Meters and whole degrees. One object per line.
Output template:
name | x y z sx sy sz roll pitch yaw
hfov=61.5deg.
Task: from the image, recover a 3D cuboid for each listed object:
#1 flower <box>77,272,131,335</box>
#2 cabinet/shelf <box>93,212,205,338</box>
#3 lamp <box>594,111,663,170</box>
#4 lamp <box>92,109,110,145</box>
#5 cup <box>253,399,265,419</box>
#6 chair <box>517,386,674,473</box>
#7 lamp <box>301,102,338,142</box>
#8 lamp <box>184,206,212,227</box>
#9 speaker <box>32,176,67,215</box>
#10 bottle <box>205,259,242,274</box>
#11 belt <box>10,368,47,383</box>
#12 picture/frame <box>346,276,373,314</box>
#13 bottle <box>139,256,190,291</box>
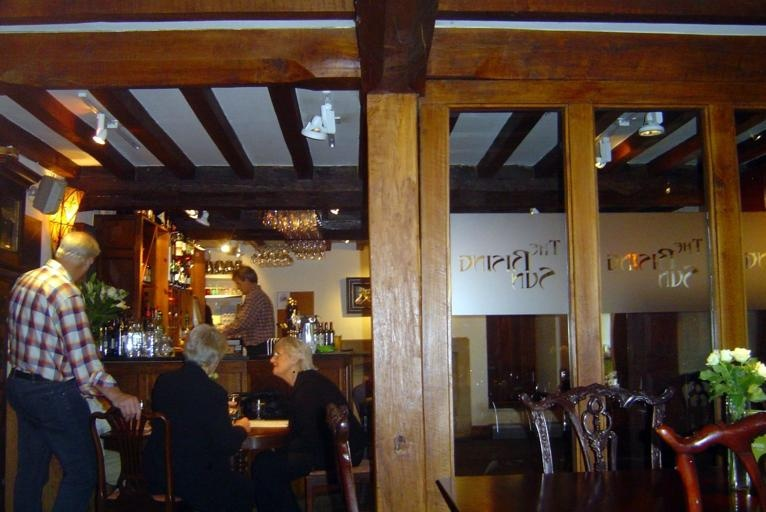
flower | -2.639 0.442 6.116 0.605 0.600 0.626 3 -3 -17
cabinet/shelf | -3.179 0.264 8.049 0.596 1.593 1.792 2 5 -12
lamp | 1.461 -0.747 4.210 0.666 0.405 0.230 1 -7 7
lamp | -2.331 -1.067 5.319 0.100 0.257 0.335 4 -12 -24
cup | -0.974 1.227 5.126 0.110 0.182 0.105 1 -3 0
chair | 1.134 0.986 3.618 0.847 0.531 0.808 0 -11 -6
lamp | -0.492 -1.053 5.142 0.336 0.287 0.195 -2 7 -14
lamp | -2.526 -0.545 8.758 0.319 0.071 0.281 12 -18 1
speaker | -3.112 -0.561 5.982 0.257 0.319 0.282 5 -13 -32
bottle | -2.752 0.189 10.947 0.640 0.205 0.458 0 -3 6
belt | -2.319 0.775 4.179 0.286 0.085 0.061 -6 -12 25
picture/frame | -0.432 0.676 10.915 0.377 0.664 0.399 0 -11 -10
bottle | -2.898 0.229 8.428 0.508 0.456 0.158 5 5 3
